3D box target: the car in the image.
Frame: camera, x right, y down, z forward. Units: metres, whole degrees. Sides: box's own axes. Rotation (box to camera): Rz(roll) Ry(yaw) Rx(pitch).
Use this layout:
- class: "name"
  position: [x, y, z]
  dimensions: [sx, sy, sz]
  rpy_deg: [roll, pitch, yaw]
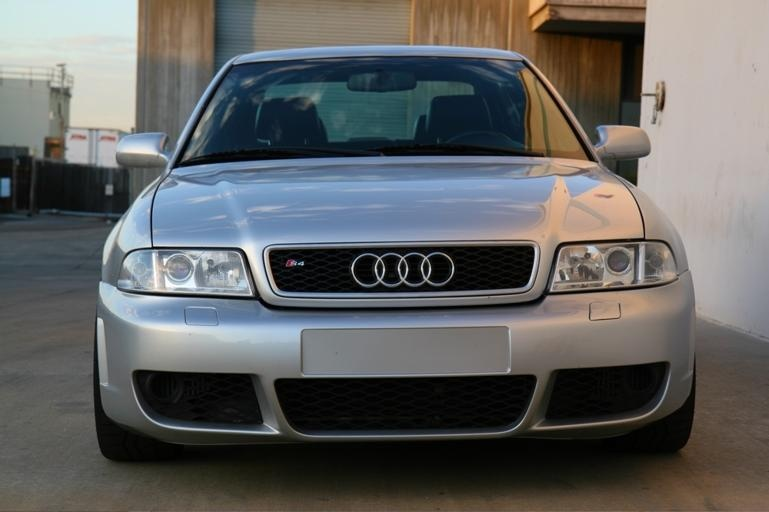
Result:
- class: "car"
  position: [0.037, -0.182, 5.052]
  dimensions: [1.844, 1.346, 3.094]
  rpy_deg: [0, 0, -1]
